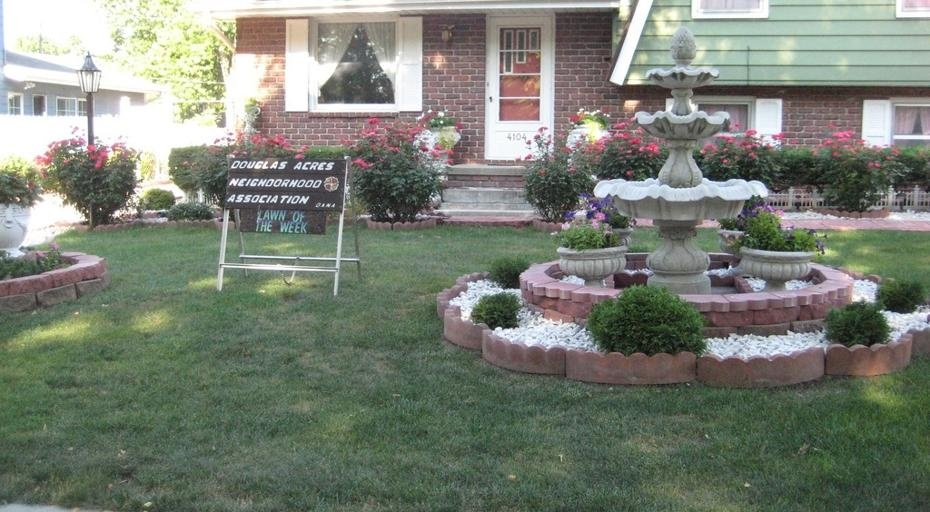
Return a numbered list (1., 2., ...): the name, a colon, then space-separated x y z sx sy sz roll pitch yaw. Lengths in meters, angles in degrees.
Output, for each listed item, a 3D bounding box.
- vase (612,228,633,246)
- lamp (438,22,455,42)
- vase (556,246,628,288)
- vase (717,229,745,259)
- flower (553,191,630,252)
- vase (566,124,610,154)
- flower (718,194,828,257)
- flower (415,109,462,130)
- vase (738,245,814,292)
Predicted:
1. vase: 2.475 -0.314 12.300 0.330 0.314 0.329 -1 -1 -2
2. lamp: -0.465 -5.664 20.015 0.419 0.485 0.387 0 -1 -1
3. vase: 1.965 0.172 11.523 1.026 0.695 1.043 -3 6 25
4. vase: 4.113 -0.207 12.294 0.412 0.288 0.409 -4 3 -41
5. flower: 1.838 -0.504 11.637 0.804 0.541 1.062 -1 3 -2
6. vase: 2.795 -2.820 18.478 0.859 0.356 1.070 -4 15 25
7. flower: 4.343 -0.418 11.644 0.977 0.675 1.327 -2 4 -13
8. flower: -0.572 -3.424 19.645 0.949 0.436 0.989 0 14 5
9. vase: 4.354 0.218 11.310 0.790 0.492 0.777 11 9 40
